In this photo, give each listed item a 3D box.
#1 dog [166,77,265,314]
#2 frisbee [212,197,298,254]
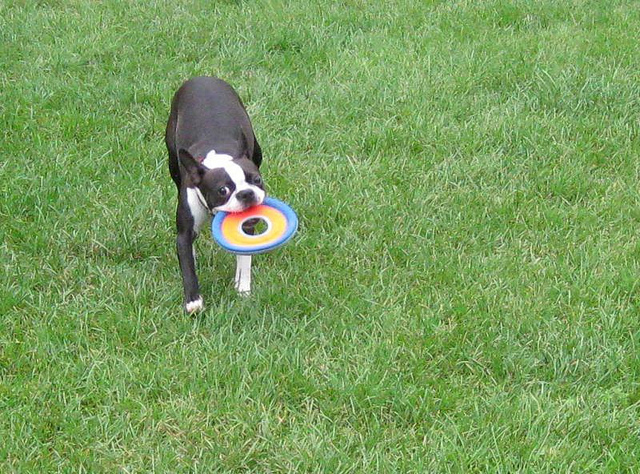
[{"bbox_3d":[-0.967,-0.633,6.767,0.668,1.278,2.357,-4,54,-8],"label":"dog"},{"bbox_3d":[-0.503,-0.073,6.294,0.479,0.084,0.510,-6,44,-5],"label":"frisbee"}]
